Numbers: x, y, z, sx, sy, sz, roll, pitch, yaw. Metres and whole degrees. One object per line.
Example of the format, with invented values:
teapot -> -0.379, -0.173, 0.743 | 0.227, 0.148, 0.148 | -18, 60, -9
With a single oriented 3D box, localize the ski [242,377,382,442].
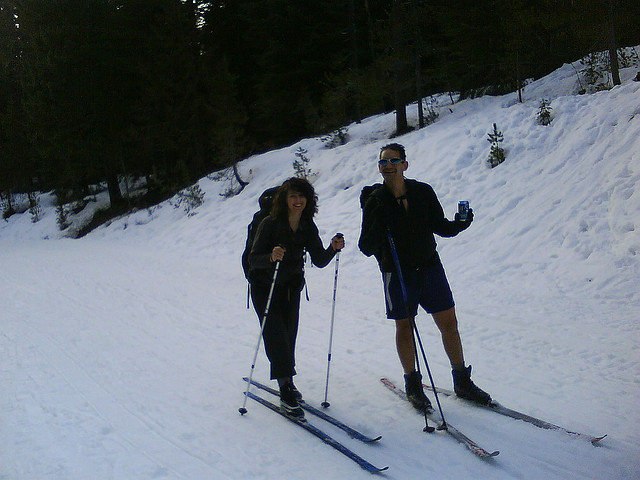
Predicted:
ski -> -0.119, 2.515, 9.054 | 0.145, 0.226, 1.905 | -17, 30, -36

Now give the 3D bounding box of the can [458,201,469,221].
can -> 2.042, -0.430, 8.845 | 0.147, 0.282, 0.231 | 1, 12, 14

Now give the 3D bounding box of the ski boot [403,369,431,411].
ski boot -> 1.405, 2.150, 8.946 | 0.184, 0.480, 0.570 | -14, 20, -22

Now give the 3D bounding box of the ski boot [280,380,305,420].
ski boot -> -0.347, 2.294, 9.027 | 0.139, 0.307, 0.442 | -6, -30, -20

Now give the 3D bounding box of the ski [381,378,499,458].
ski -> 1.682, 2.535, 8.672 | 0.222, 0.223, 2.446 | -34, 27, -8

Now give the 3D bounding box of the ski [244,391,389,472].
ski -> -0.049, 2.729, 8.692 | 1.809, 0.220, 0.147 | 28, 8, 31
